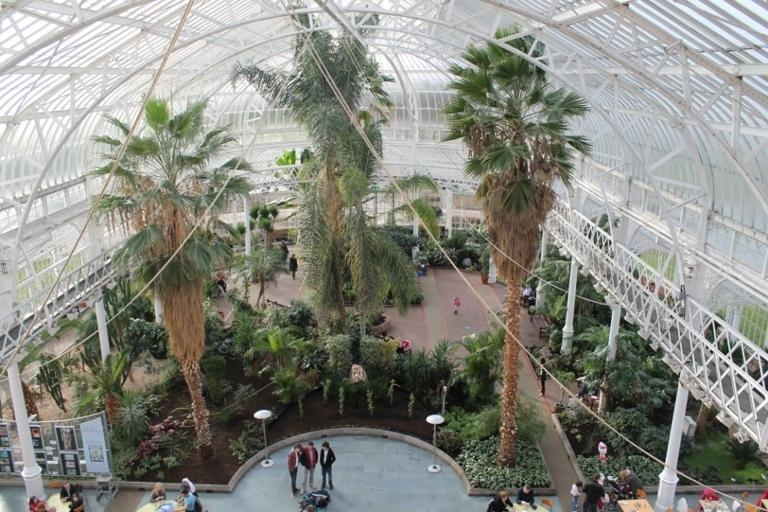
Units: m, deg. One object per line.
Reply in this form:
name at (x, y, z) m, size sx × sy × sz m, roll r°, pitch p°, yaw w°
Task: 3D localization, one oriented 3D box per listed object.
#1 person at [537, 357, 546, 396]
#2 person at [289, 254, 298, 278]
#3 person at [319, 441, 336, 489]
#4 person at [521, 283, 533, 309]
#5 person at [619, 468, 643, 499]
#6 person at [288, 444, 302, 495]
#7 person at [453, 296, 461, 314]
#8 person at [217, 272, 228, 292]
person at (6.814, 5.222, 26.522) m, size 0.339 × 1.502 × 2.039 m, roll -6°, pitch -10°, yaw 14°
person at (-5.509, 0.648, 37.104) m, size 0.413 × 1.554 × 1.184 m, roll -1°, pitch -10°, yaw -14°
person at (-1.947, 7.036, 20.645) m, size 0.447 × 1.650 × 1.468 m, roll -3°, pitch -10°, yaw -6°
person at (7.670, 2.124, 33.132) m, size 0.675 × 1.345 × 0.528 m, roll -6°, pitch -10°, yaw 12°
person at (7.779, 7.208, 19.433) m, size 0.702 × 0.868 × 0.301 m, roll -2°, pitch -10°, yaw -10°
person at (-2.997, 7.143, 20.548) m, size 0.408 × 1.680 × 0.859 m, roll -2°, pitch -10°, yaw -10°
person at (3.880, 2.687, 33.191) m, size 0.426 × 1.051 × 1.544 m, roll -5°, pitch -10°, yaw 7°
person at (-9.288, 1.503, 34.936) m, size 0.566 × 1.298 × 1.292 m, roll -1°, pitch -11°, yaw -16°
